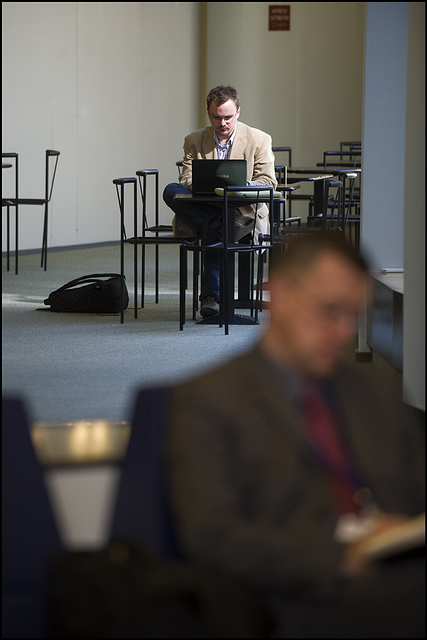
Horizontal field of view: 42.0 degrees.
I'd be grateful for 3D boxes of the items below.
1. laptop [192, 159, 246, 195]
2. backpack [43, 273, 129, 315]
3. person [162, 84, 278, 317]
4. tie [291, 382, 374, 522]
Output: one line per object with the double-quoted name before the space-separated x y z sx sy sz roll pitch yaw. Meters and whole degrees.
"laptop" 0.033 -0.922 3.529 0.303 0.256 0.237 0 6 2
"backpack" -0.896 -0.194 4.180 0.477 0.263 0.383 -4 11 14
"person" 0.051 -0.884 4.080 0.596 1.613 0.841 7 19 28
"tie" 0.134 0.147 0.655 0.062 0.035 0.298 19 -30 27
